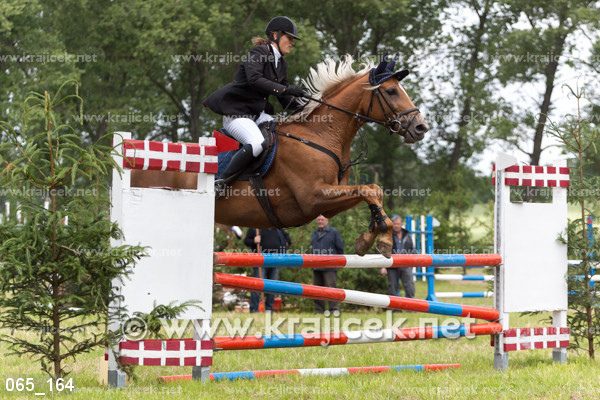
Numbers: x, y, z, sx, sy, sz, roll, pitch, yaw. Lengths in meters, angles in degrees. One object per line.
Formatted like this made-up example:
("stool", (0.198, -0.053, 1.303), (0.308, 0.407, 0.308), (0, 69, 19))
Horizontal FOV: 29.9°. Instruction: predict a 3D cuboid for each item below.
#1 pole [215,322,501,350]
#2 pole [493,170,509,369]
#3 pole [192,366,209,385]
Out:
("pole", (1.244, 2.884, 23.007), (5.983, 0.395, 0.408), (-3, 34, -2))
("pole", (4.205, 1.410, 23.472), (0.388, 3.801, 0.372), (-5, 7, -30))
("pole", (-1.987, 3.468, 22.457), (0.330, 0.281, 0.240), (0, 11, -5))
